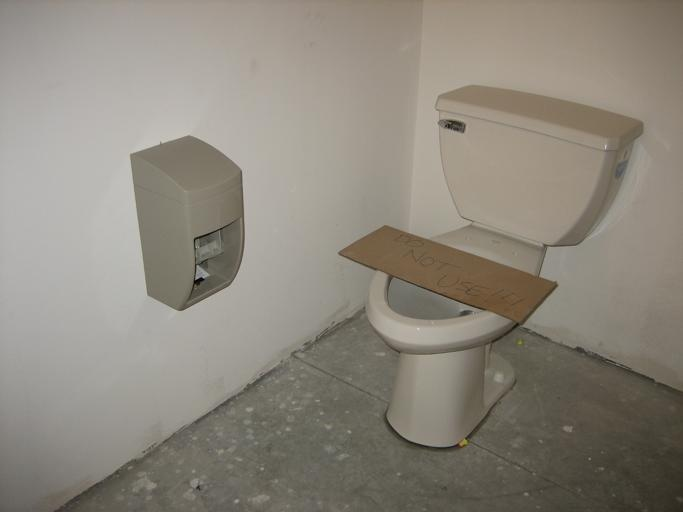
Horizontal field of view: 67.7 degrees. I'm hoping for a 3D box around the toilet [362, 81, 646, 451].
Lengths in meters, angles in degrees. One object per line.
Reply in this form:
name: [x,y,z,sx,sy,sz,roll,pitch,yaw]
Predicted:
toilet: [0.430,0.066,1.706,0.814,1.038,0.617,-25,38,-38]
